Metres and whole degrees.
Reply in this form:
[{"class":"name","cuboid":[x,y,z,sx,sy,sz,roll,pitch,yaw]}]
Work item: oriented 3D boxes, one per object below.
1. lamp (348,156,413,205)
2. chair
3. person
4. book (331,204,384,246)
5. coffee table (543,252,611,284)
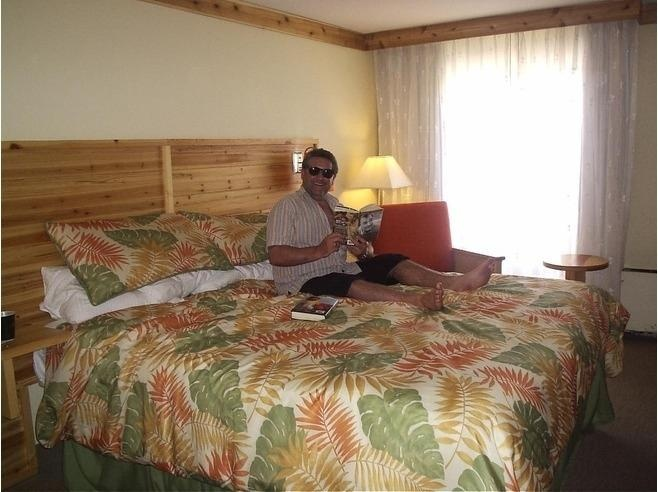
[{"class":"lamp","cuboid":[0.571,-0.704,4.927,0.509,0.663,0.452,0,8,8]},{"class":"chair","cuboid":[0.926,-0.084,4.078,0.762,0.965,0.823,-8,9,-43]},{"class":"person","cuboid":[0.252,-0.103,2.939,1.386,0.877,0.731,10,13,41]},{"class":"book","cuboid":[0.188,-0.125,2.844,0.287,0.238,0.157,-3,9,-17]},{"class":"coffee table","cuboid":[2.039,0.146,3.820,0.343,0.219,0.325,-3,13,0]}]
